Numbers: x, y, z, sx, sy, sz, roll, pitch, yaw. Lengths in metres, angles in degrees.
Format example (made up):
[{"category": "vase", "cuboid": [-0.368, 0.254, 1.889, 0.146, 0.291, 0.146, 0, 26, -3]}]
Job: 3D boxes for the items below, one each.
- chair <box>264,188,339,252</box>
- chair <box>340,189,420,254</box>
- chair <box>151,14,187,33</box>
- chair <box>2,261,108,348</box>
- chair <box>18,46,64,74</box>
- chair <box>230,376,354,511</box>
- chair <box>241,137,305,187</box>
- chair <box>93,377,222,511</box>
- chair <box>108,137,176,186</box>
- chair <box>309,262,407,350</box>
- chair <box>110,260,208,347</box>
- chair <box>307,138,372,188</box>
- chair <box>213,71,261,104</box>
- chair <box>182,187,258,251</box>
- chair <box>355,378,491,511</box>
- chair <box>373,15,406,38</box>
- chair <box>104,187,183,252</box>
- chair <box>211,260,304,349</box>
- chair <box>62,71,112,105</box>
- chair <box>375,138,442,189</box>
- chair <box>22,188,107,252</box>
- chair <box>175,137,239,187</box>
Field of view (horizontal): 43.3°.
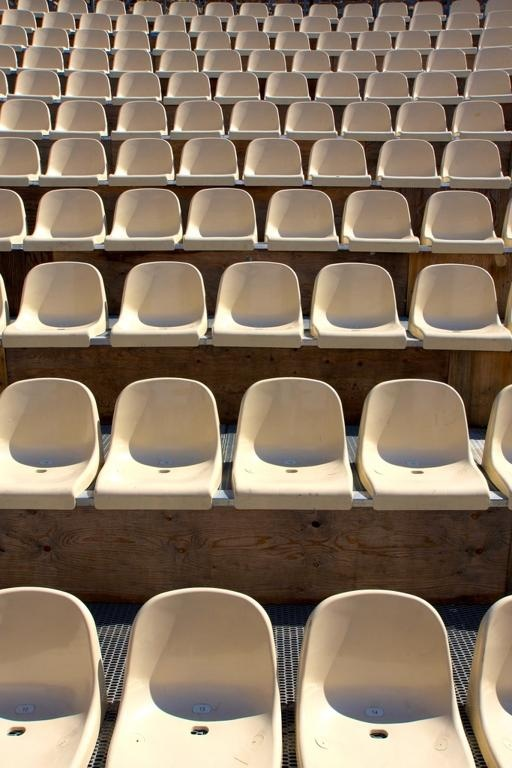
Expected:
[{"category": "chair", "cuboid": [0.202, -0.731, 2.871, 0.373, 0.266, 0.368, 9, 17, 26]}, {"category": "chair", "cuboid": [0.531, -0.749, 2.806, 0.374, 0.304, 0.353, 1, 10, 0]}, {"category": "chair", "cuboid": [-0.895, -3.667, 6.579, 0.326, 0.130, 0.262, -6, 36, -3]}, {"category": "chair", "cuboid": [-0.701, -0.311, 2.302, 0.362, 0.293, 0.343, 0, 6, 2]}, {"category": "chair", "cuboid": [-1.722, -2.595, 5.169, 0.301, 0.148, 0.337, -8, 36, -5]}, {"category": "chair", "cuboid": [0.098, 0.160, 1.734, 0.355, 0.276, 0.442, 6, 13, 11]}, {"category": "chair", "cuboid": [0.098, -1.256, 3.503, 0.398, 0.261, 0.384, 0, 30, -1]}, {"category": "chair", "cuboid": [-0.256, 0.168, 1.738, 0.328, 0.280, 0.396, 4, 13, 3]}, {"category": "chair", "cuboid": [-0.634, -1.221, 3.550, 0.385, 0.256, 0.365, -8, 22, -23]}, {"category": "chair", "cuboid": [0.356, -0.276, 2.269, 0.363, 0.265, 0.368, 4, 15, 20]}, {"category": "chair", "cuboid": [-0.335, -0.303, 2.257, 0.345, 0.268, 0.325, 0, 14, 0]}, {"category": "chair", "cuboid": [0.452, -1.201, 3.538, 0.374, 0.228, 0.368, 7, 24, 18]}, {"category": "chair", "cuboid": [-0.141, -2.242, 4.742, 0.380, 0.249, 0.359, 0, 30, 0]}, {"category": "chair", "cuboid": [-0.152, -0.767, 2.822, 0.375, 0.307, 0.355, 1, 11, 0]}, {"category": "chair", "cuboid": [0.438, 0.161, 1.717, 0.296, 0.260, 0.360, 0, 10, 2]}, {"category": "chair", "cuboid": [1.343, -3.598, 6.469, 0.376, 0.247, 0.360, 3, 31, 9]}, {"category": "chair", "cuboid": [-0.510, -0.740, 2.891, 0.374, 0.259, 0.362, -6, 18, -19]}, {"category": "chair", "cuboid": [0.014, -0.285, 2.290, 0.387, 0.261, 0.382, -15, 24, -42]}, {"category": "chair", "cuboid": [-1.269, -2.220, 4.820, 0.306, 0.178, 0.259, 5, 37, 12]}, {"category": "chair", "cuboid": [0.833, -1.189, 3.509, 0.340, 0.261, 0.326, 4, 20, 12]}, {"category": "chair", "cuboid": [-0.869, -0.738, 2.896, 0.384, 0.251, 0.363, -7, 19, -24]}, {"category": "chair", "cuboid": [-0.262, -1.260, 3.490, 0.394, 0.320, 0.372, 0, 11, -2]}]
